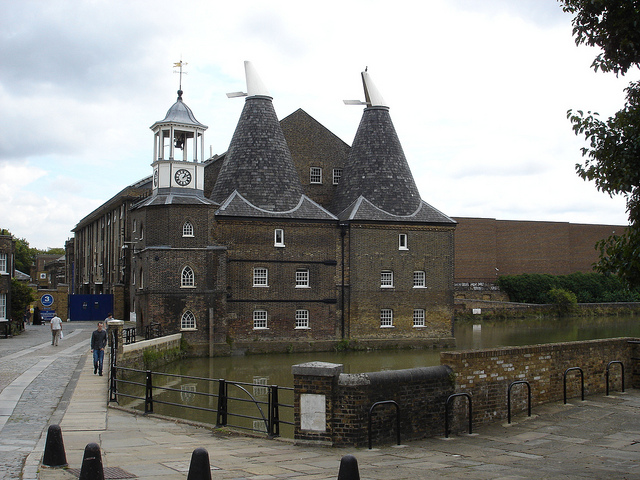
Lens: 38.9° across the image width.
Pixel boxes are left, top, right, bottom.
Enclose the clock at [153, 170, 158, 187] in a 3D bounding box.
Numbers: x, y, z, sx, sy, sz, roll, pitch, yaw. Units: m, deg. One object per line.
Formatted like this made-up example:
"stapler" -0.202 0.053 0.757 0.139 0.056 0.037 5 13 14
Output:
"clock" -8.976 -3.358 49.720 0.234 0.715 0.757 7 5 -13
